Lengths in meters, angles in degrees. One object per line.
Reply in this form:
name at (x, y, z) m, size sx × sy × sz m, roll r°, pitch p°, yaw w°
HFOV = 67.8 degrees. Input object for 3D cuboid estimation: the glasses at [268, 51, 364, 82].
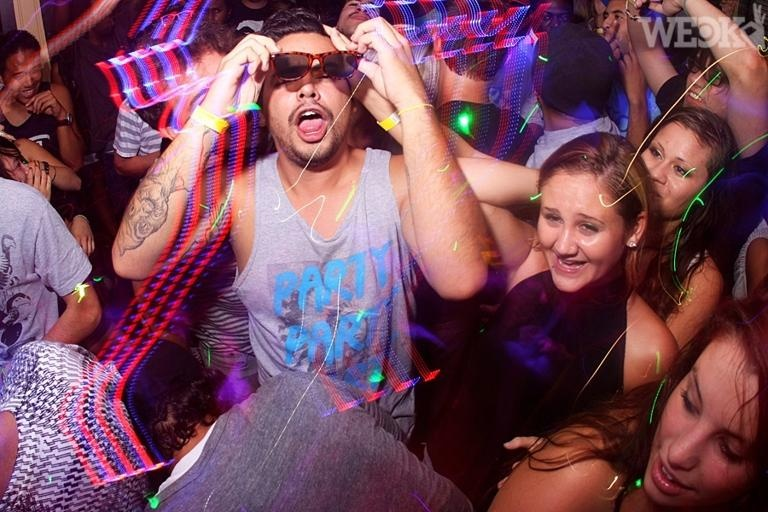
glasses at (-0.353, -0.993, 2.991) m, size 0.469 × 0.138 × 0.082 m, roll -4°, pitch 25°, yaw -6°

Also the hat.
hat at (1.262, -1.173, 3.766) m, size 0.412 × 0.498 × 0.648 m, roll 2°, pitch 45°, yaw 1°
